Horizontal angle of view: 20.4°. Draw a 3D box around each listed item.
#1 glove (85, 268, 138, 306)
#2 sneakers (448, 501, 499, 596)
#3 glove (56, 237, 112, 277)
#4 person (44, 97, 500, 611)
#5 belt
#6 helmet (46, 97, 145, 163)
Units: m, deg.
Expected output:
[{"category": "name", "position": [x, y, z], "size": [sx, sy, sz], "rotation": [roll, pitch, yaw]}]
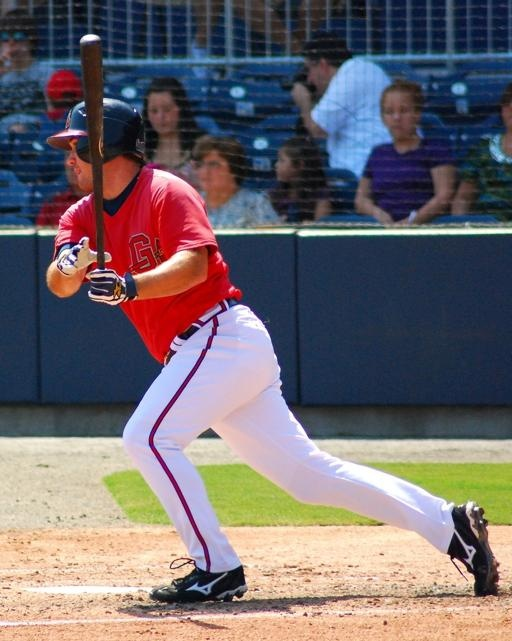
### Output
[{"category": "glove", "position": [-0.462, -0.109, 4.582], "size": [0.151, 0.112, 0.129], "rotation": [-1, 5, -7]}, {"category": "sneakers", "position": [0.767, 0.783, 4.917], "size": [0.176, 0.355, 0.133], "rotation": [-9, 9, 29]}, {"category": "glove", "position": [-0.578, -0.213, 4.744], "size": [0.164, 0.123, 0.067], "rotation": [-38, 3, 3]}, {"category": "person", "position": [0.007, 0.093, 4.857], "size": [1.170, 1.701, 0.433], "rotation": [-2, 6, -12]}, {"category": "belt", "position": [-0.200, 0.015, 4.802], "size": [0.246, 0.063, 0.183], "rotation": [-37, 23, -4]}, {"category": "helmet", "position": [-0.565, -0.656, 4.867], "size": [0.389, 0.210, 0.252], "rotation": [-1, 7, -27]}]
